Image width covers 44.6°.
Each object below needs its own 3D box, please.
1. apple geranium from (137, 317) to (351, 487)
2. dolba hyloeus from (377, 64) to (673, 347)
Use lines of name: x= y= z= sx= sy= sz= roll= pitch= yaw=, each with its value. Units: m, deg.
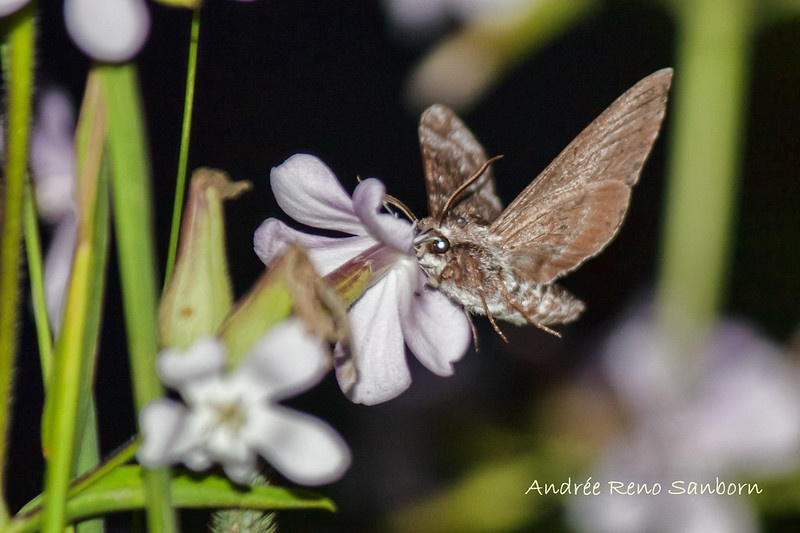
apple geranium: x=-0.107 y=0.095 z=0.686 sx=0.147 sy=0.056 sz=0.106 roll=2 pitch=72 yaw=2
dolba hyloeus: x=0.116 y=-0.031 z=0.850 sx=0.261 sy=0.198 sz=0.209 roll=3 pitch=76 yaw=48
